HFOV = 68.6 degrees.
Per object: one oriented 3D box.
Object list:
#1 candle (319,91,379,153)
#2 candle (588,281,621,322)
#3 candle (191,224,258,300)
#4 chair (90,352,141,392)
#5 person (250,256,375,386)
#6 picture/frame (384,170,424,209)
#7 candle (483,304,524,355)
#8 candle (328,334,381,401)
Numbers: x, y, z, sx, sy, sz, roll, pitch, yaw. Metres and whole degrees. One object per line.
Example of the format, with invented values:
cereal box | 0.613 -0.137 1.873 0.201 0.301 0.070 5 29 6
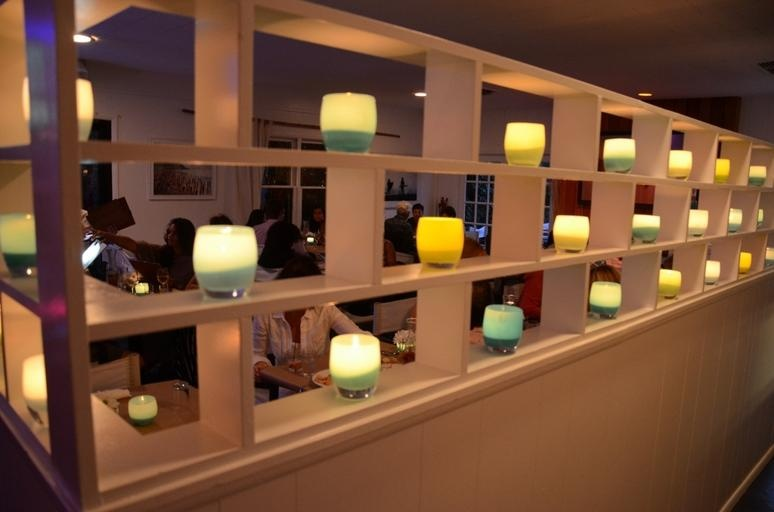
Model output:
candle | -0.113 -0.410 1.816 0.186 0.199 0.181 2 2 6
candle | 1.014 0.218 2.662 0.168 0.161 0.167 1 2 -5
candle | -0.450 0.013 1.578 0.157 0.193 0.129 -10 16 -35
chair | -1.349 0.600 2.872 0.330 0.152 0.178 -11 -14 10
person | -0.559 0.565 3.520 0.748 1.046 0.563 -4 36 -19
picture/frame | 0.241 -1.244 10.299 0.922 0.588 0.027 -7 10 -42
candle | 0.467 0.281 2.218 0.182 0.173 0.177 0 3 -11
candle | -0.102 0.362 1.893 0.195 0.183 0.195 1 3 -1
